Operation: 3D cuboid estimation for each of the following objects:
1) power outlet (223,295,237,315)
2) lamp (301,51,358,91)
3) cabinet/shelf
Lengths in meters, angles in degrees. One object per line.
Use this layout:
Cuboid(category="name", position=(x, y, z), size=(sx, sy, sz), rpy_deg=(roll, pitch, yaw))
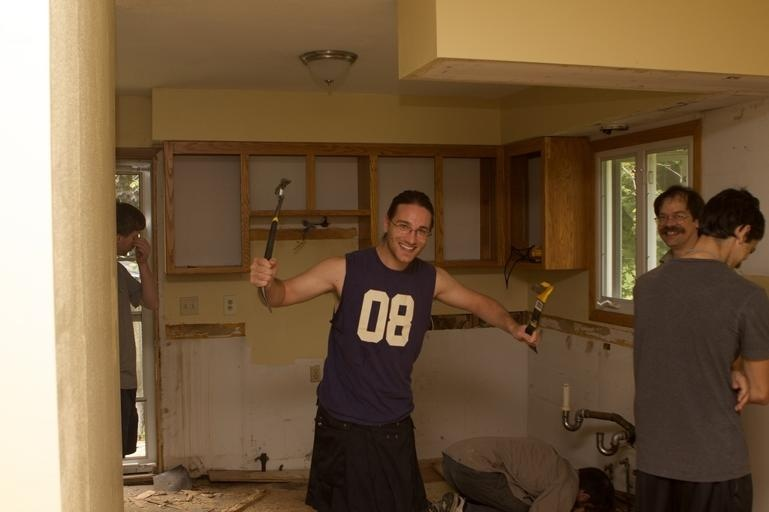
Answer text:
Cuboid(category="power outlet", position=(-1.053, 0.330, 4.710), size=(0.102, 0.136, 0.032), rpy_deg=(0, -1, -11))
Cuboid(category="lamp", position=(-0.304, -1.012, 3.778), size=(0.311, 0.131, 0.365), rpy_deg=(0, 1, -6))
Cuboid(category="cabinet/shelf", position=(-0.057, -0.337, 4.380), size=(2.624, 0.816, 0.473), rpy_deg=(3, 2, -14))
